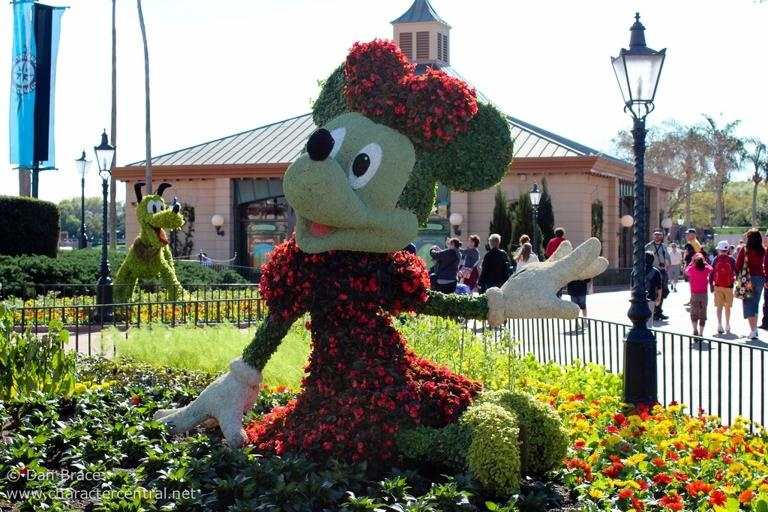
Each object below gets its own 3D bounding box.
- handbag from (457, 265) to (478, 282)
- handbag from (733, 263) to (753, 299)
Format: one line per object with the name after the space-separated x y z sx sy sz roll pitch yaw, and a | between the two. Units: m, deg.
1.590 0.356 19.612 0.288 0.229 0.301 -1 -5 9 | handbag
6.074 0.436 17.380 0.230 0.622 0.259 -1 1 12 | handbag
